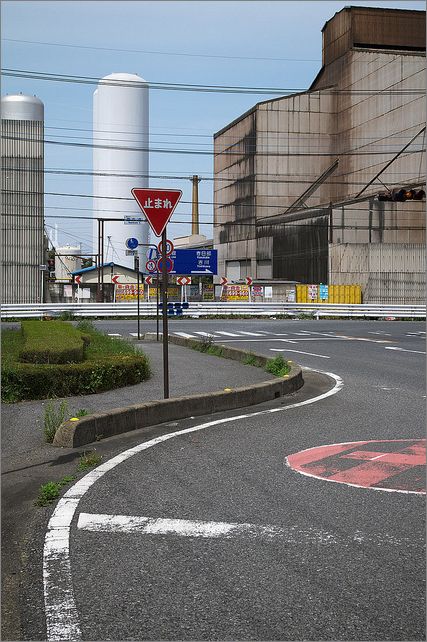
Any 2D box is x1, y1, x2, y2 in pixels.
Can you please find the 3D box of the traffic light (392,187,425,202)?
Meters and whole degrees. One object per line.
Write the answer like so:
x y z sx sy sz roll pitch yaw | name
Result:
6.818 -4.465 27.789 0.971 0.397 1.715 1 6 16 | traffic light

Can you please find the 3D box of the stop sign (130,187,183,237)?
-0.694 -1.327 9.850 0.627 0.692 0.024 1 -19 -8 | stop sign
